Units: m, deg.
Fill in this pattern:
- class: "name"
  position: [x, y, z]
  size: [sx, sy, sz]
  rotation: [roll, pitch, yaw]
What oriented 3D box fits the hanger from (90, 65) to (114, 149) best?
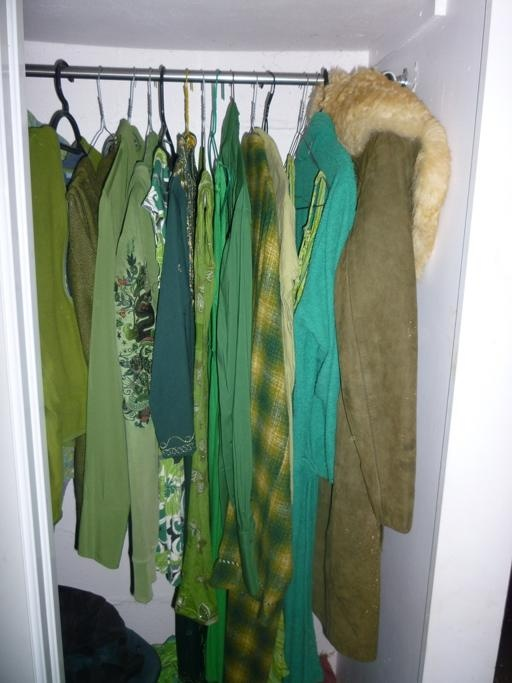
- class: "hanger"
  position: [-0.327, -0.485, 1.421]
  size: [0.050, 0.154, 0.010]
  rotation: [-5, 15, -8]
